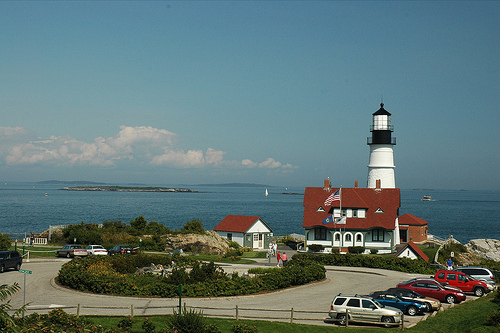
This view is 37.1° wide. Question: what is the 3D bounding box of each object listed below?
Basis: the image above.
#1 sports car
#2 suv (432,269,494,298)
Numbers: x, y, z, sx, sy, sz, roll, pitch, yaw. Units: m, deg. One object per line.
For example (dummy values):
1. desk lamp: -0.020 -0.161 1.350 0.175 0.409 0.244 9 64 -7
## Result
1. sports car: 16.649 15.415 85.060 7.006 2.169 3.007 0 2 4
2. suv: 25.810 14.203 91.062 6.347 2.589 2.886 0 2 8
